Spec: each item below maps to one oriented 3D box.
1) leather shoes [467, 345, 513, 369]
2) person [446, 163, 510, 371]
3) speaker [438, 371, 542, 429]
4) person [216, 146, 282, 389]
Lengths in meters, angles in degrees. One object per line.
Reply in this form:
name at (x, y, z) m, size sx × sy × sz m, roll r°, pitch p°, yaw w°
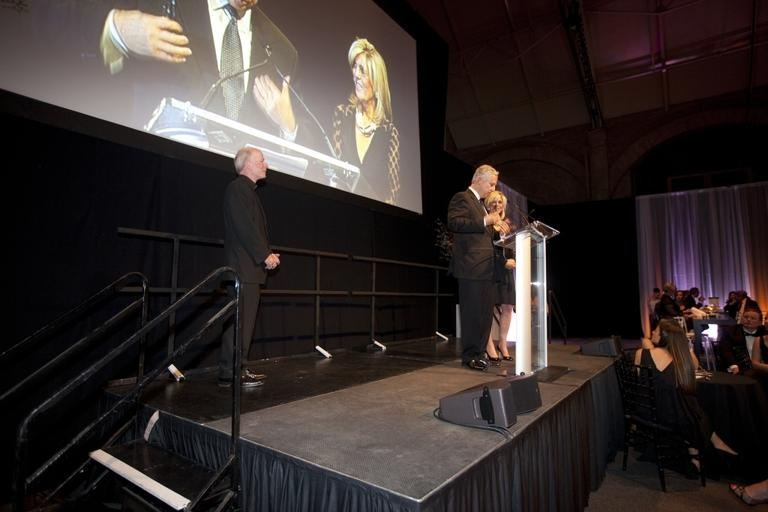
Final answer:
leather shoes at (1.083, 1.066, 4.976) m, size 0.633 × 0.269 × 0.193 m, roll 22°, pitch -19°, yaw -37°
person at (0.888, 0.078, 4.885) m, size 0.507 × 2.021 × 0.542 m, roll 1°, pitch -6°, yaw 7°
speaker at (0.694, 1.021, 3.427) m, size 0.376 × 0.213 × 0.440 m, roll -12°, pitch -12°, yaw 41°
person at (-1.166, 0.053, 4.354) m, size 0.478 × 2.140 × 1.001 m, roll 4°, pitch -7°, yaw -20°
